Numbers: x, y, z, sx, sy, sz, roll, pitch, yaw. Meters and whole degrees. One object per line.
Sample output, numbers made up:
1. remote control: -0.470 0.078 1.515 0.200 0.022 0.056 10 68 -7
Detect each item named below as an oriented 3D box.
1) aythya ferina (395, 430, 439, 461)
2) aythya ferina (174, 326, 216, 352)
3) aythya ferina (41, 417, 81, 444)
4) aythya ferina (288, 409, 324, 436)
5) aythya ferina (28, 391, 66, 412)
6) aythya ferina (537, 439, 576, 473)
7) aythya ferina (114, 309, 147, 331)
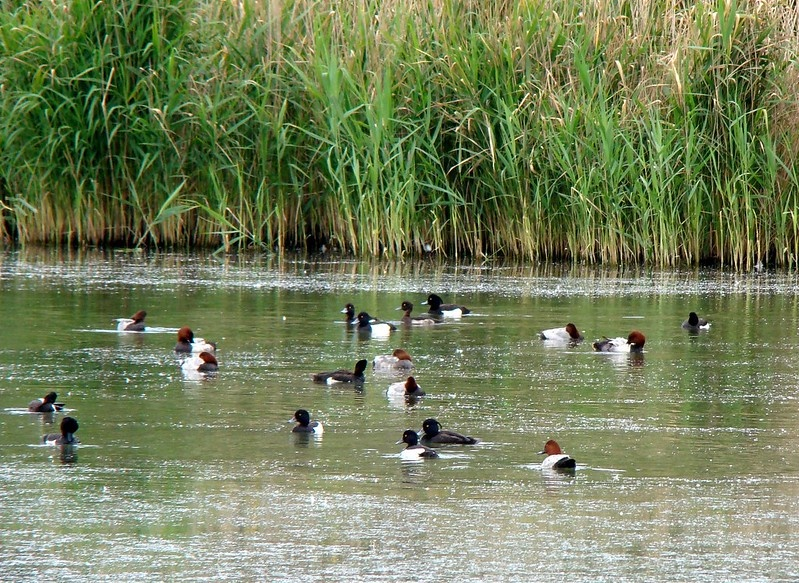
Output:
1. aythya ferina: 0.155 1.366 12.272 0.338 0.258 0.198 11 2 32
2. aythya ferina: -2.441 0.605 16.411 0.413 0.314 0.310 10 7 37
3. aythya ferina: -3.028 1.258 12.321 0.336 0.263 0.206 -23 -24 40
4. aythya ferina: -0.873 1.230 12.940 0.175 0.222 0.296 -2 11 -38
5. aythya ferina: -3.469 1.082 13.418 0.204 0.196 0.269 2 -2 -25
6. aythya ferina: 1.381 1.429 12.046 0.155 0.237 0.405 0 7 -12
7. aythya ferina: -3.507 0.351 17.907 0.255 0.246 0.325 -3 3 -36
